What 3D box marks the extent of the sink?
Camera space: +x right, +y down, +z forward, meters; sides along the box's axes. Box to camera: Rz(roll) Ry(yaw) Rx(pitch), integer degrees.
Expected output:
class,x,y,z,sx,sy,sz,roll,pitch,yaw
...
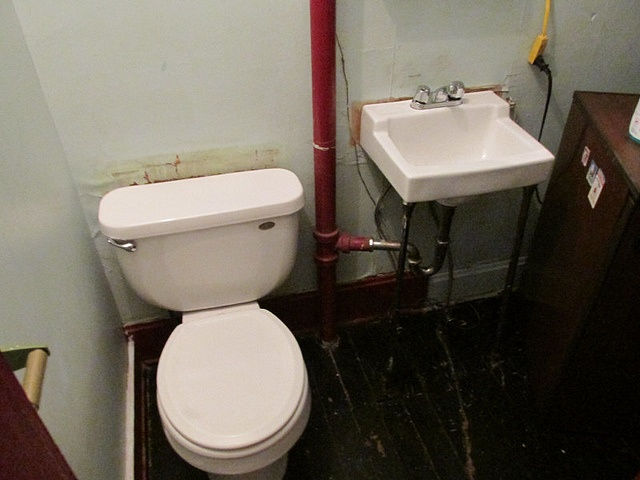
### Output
class,x,y,z,sx,sy,sz,roll,pitch,yaw
sink,0.421,-0.298,1.831,0.524,0.209,0.391,-13,42,-5
